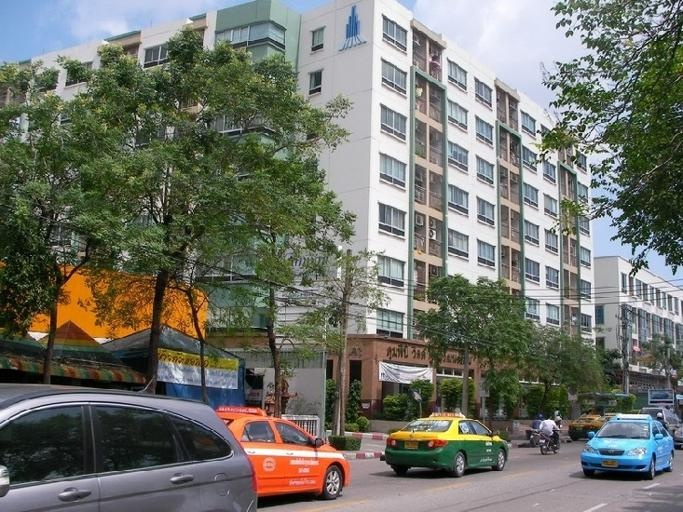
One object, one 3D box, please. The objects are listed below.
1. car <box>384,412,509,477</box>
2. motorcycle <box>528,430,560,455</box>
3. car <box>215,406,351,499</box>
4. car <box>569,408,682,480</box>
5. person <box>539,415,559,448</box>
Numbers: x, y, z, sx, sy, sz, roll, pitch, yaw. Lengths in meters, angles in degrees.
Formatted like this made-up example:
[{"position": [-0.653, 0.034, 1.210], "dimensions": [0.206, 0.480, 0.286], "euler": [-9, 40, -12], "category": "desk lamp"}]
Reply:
[{"position": [3.278, 5.573, 20.029], "dimensions": [1.739, 1.714, 4.454], "euler": [-15, -23, 41], "category": "car"}, {"position": [8.883, 8.218, 29.751], "dimensions": [1.930, 1.187, 0.927], "euler": [8, -11, -42], "category": "motorcycle"}, {"position": [-1.273, 4.201, 14.950], "dimensions": [1.908, 1.630, 3.808], "euler": [-13, -19, 43], "category": "car"}, {"position": [8.240, 5.382, 19.346], "dimensions": [1.553, 1.211, 2.892], "euler": [-9, -25, 30], "category": "car"}, {"position": [8.709, 7.519, 29.233], "dimensions": [0.913, 0.993, 1.532], "euler": [-5, -9, 32], "category": "person"}]
